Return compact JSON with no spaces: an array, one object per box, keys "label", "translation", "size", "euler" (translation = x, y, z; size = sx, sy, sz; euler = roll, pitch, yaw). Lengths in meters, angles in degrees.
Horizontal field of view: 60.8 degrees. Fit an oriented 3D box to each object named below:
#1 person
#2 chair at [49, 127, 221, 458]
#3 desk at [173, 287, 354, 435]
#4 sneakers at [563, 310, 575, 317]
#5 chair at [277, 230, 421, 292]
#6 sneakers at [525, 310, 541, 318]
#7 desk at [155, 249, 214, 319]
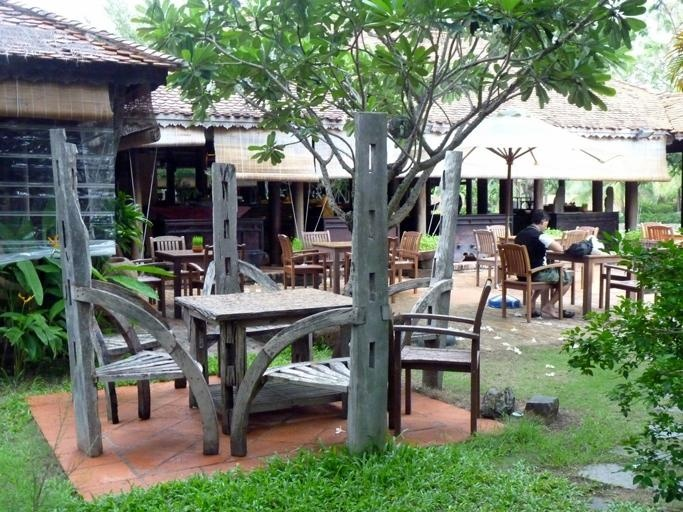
[{"label":"person","translation":[3.284,0.137,9.467],"size":[0.869,1.728,1.133],"euler":[6,10,39]},{"label":"chair","translation":[-1.747,0.282,4.672],"size":[1.450,2.517,0.825],"euler":[5,9,31]},{"label":"desk","translation":[-0.907,0.748,5.369],"size":[1.344,0.831,1.308],"euler":[-1,2,-28]},{"label":"sneakers","translation":[3.674,0.956,9.529],"size":[0.105,0.107,0.255],"euler":[1,-7,-14]},{"label":"chair","translation":[-0.366,0.180,11.588],"size":[1.634,0.948,0.962],"euler":[-2,5,-23]},{"label":"sneakers","translation":[3.193,0.974,9.594],"size":[0.329,0.128,0.108],"euler":[-3,6,-16]},{"label":"desk","translation":[-2.787,0.230,9.987],"size":[1.238,1.449,1.577],"euler":[0,0,-17]}]
